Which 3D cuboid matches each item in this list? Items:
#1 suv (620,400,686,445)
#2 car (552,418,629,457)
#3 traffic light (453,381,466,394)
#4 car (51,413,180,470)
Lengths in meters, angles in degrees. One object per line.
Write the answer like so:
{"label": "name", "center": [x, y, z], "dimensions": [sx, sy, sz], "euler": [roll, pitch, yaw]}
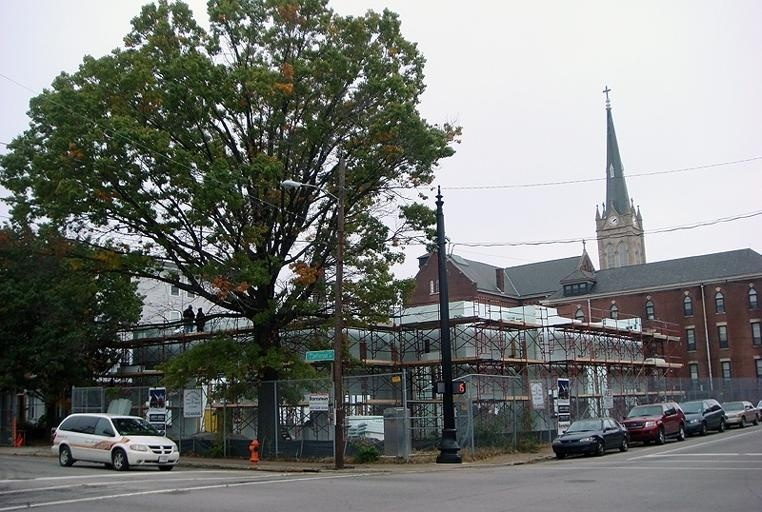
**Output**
{"label": "suv", "center": [14.905, 9.102, 41.246], "dimensions": [4.170, 2.275, 1.739], "euler": [13, -20, -41]}
{"label": "car", "center": [10.272, 8.744, 36.534], "dimensions": [3.634, 1.783, 1.640], "euler": [8, -18, -31]}
{"label": "traffic light", "center": [3.731, 6.168, 35.522], "dimensions": [0.577, 0.540, 0.750], "euler": [-4, -16, 8]}
{"label": "car", "center": [-11.717, 8.060, 32.466], "dimensions": [4.793, 1.943, 2.534], "euler": [-10, -19, 35]}
